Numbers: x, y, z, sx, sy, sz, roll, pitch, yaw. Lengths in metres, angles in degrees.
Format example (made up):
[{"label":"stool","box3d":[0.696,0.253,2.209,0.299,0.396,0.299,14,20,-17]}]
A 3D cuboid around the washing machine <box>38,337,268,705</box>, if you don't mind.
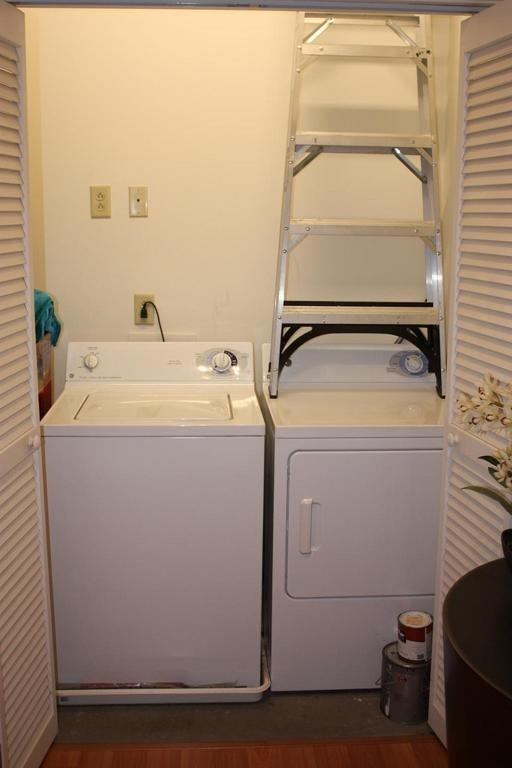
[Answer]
[{"label":"washing machine","box3d":[-0.319,0.420,1.874,0.644,1.066,0.560,0,5,-7]}]
